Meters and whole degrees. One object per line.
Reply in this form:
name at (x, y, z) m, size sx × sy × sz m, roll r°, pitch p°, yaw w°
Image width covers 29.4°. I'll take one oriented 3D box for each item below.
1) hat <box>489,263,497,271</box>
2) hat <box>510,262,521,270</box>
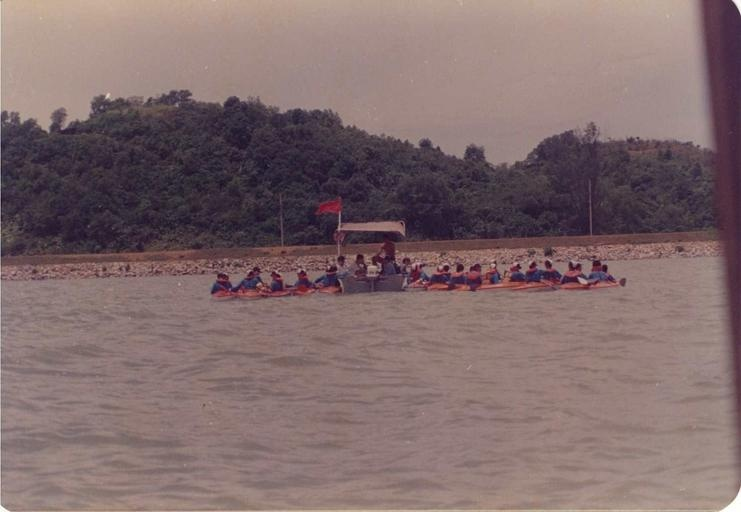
hat at (4.952, 0.596, 57.312) m, size 0.306 × 0.319 × 0.303 m, roll 5°, pitch 8°, yaw 10°
hat at (5.833, 0.570, 56.587) m, size 0.421 × 0.407 × 0.280 m, roll -4°, pitch 8°, yaw 5°
